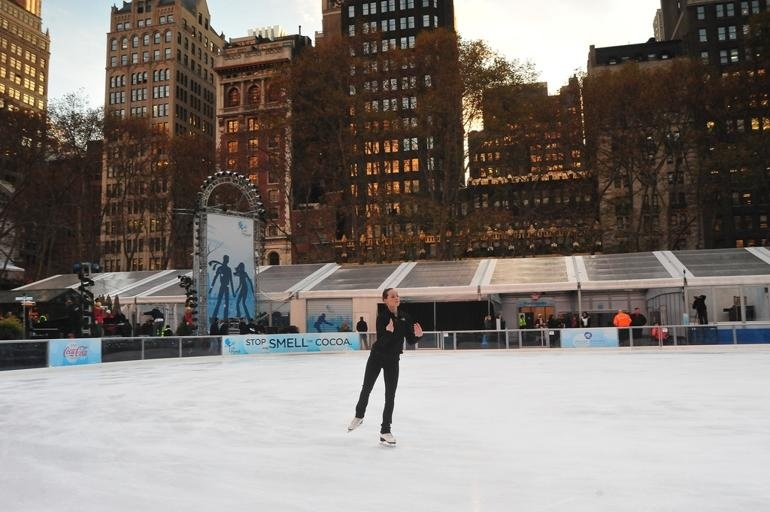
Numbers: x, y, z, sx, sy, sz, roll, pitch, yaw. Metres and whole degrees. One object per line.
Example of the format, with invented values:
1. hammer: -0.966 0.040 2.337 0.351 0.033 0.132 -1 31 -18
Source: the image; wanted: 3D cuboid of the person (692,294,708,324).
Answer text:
1. person: 16.701 2.848 45.225 0.686 1.563 1.542 -3 -7 19
